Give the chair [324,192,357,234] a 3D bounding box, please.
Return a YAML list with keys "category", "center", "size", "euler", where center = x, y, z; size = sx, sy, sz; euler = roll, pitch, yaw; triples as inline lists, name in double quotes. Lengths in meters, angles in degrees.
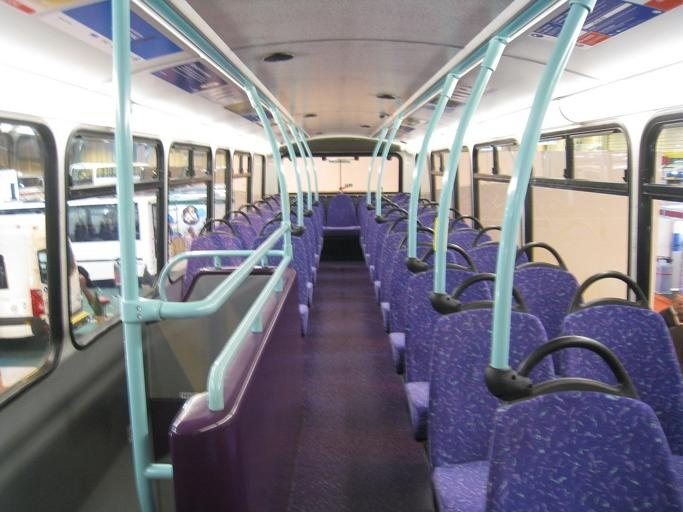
- category: "chair"
  center: [0.027, -0.981, 11.018]
  size: [0.827, 1.059, 0.870]
  euler: [0, 0, -3]
